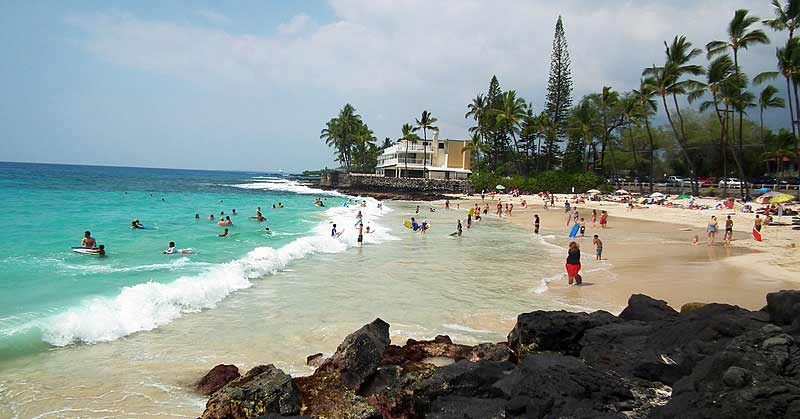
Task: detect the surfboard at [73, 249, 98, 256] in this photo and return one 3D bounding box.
[{"bbox_3d":[-21.925,2.958,36.816,1.928,0.434,0.312,2,4,13],"label":"surfboard"}]

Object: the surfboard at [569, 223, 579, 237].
[{"bbox_3d":[15.210,1.563,45.646,0.448,0.586,2.679,1,27,27],"label":"surfboard"}]

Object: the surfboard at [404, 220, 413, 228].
[{"bbox_3d":[0.854,1.463,52.093,0.497,0.727,0.760,14,-17,-20],"label":"surfboard"}]
